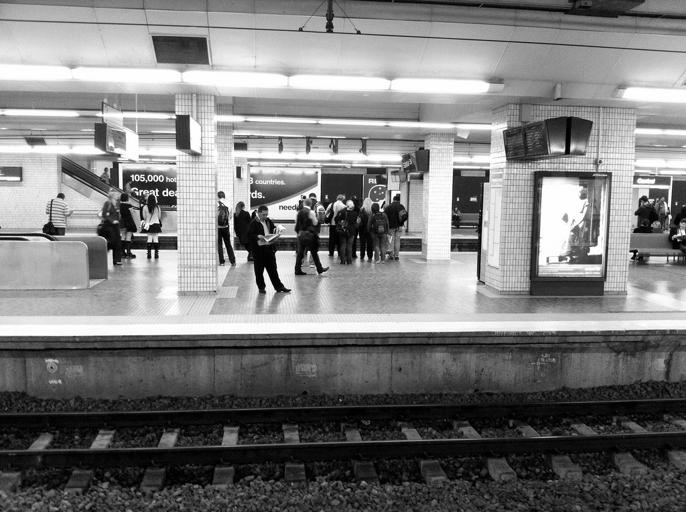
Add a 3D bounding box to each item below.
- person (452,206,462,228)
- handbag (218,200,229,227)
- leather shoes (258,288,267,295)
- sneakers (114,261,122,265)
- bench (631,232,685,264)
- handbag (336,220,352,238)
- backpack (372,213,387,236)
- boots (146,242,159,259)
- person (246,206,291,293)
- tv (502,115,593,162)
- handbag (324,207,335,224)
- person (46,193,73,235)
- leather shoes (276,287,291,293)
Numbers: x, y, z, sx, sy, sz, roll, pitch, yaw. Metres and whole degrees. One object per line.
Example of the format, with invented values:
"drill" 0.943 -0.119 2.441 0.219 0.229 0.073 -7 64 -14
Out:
"person" 5.462 -1.877 29.349 0.441 0.931 1.615 2 7 10
"handbag" -3.163 -1.098 16.042 0.266 0.706 0.416 -1 7 -16
"leather shoes" -1.646 0.712 12.374 0.117 0.120 0.112 3 -1 -8
"sneakers" -6.072 0.171 16.478 0.200 0.093 0.383 -2 7 -20
"bench" 9.611 -0.243 18.554 2.143 0.886 1.266 -6 9 -42
"handbag" 0.015 -0.760 16.850 0.416 0.452 0.306 10 -2 -35
"backpack" 1.023 -0.912 16.976 0.408 0.604 0.559 -1 8 -3
"boots" -5.738 -0.159 18.337 0.455 0.586 0.210 2 14 0
"person" -1.564 -0.158 12.536 0.755 1.748 1.014 -1 7 -9
"tv" 3.840 -2.221 11.639 0.768 0.759 1.553 -2 7 -22
"handbag" -0.402 -1.188 17.902 0.219 0.419 0.570 6 -36 -14
"person" -7.769 -1.128 16.568 0.687 1.133 1.398 -3 8 -26
"leather shoes" -1.204 0.693 12.404 0.296 0.135 0.111 -3 11 -14
